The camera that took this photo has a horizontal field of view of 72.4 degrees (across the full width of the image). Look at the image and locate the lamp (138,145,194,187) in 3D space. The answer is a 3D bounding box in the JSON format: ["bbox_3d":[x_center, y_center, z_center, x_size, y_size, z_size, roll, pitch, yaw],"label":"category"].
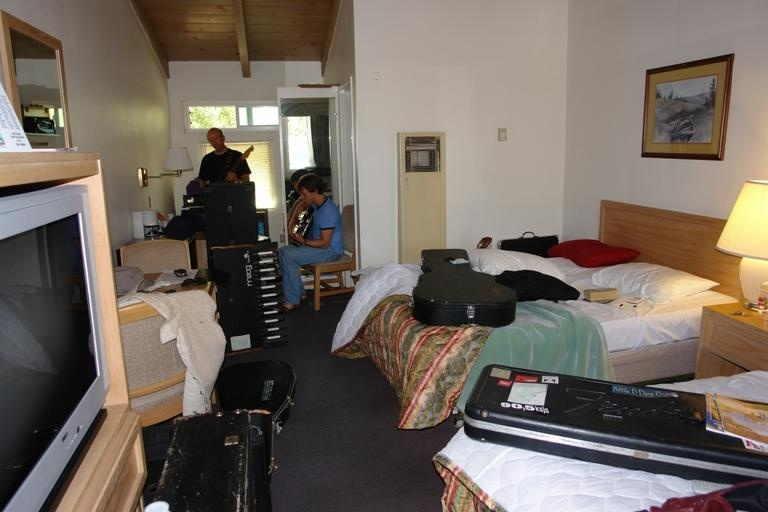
[{"bbox_3d":[-2.515,-1.074,6.180,0.804,0.593,0.496,-2,11,-11],"label":"lamp"}]

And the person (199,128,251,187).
[{"bbox_3d":[-1.814,-1.111,5.855,0.705,0.595,0.443,16,22,42],"label":"person"}]

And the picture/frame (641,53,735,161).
[{"bbox_3d":[2.351,-1.150,4.024,0.066,0.896,0.905,-5,9,-21],"label":"picture/frame"}]

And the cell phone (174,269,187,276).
[{"bbox_3d":[-1.403,0.113,3.619,0.055,0.023,0.070,1,5,-5],"label":"cell phone"}]

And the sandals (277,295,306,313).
[{"bbox_3d":[-0.911,0.489,5.257,0.239,0.069,0.088,-4,6,-45],"label":"sandals"}]

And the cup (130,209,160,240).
[{"bbox_3d":[-2.350,-0.301,5.119,0.334,0.326,0.183,-1,7,-16],"label":"cup"}]

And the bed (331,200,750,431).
[{"bbox_3d":[1.204,0.433,3.547,2.242,0.852,1.630,0,8,-4],"label":"bed"}]
